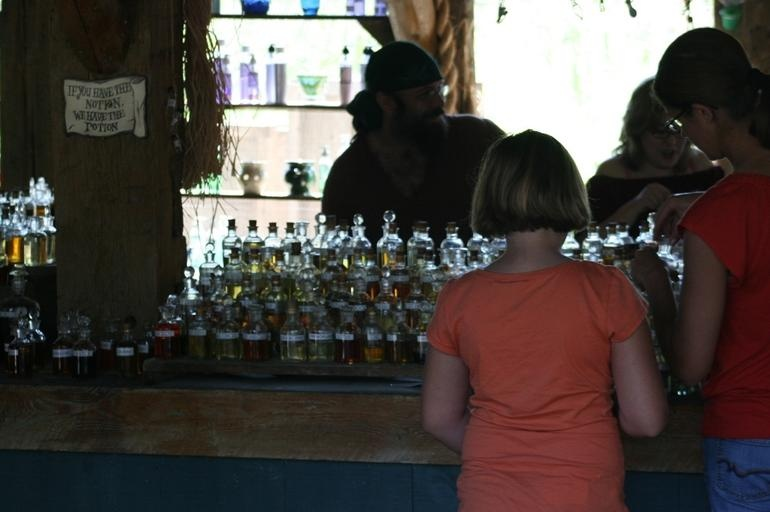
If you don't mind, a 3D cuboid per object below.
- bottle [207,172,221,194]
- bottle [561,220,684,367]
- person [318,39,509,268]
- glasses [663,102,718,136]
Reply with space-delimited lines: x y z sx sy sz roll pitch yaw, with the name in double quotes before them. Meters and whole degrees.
"bottle" -0.775 -0.336 5.053 0.078 0.087 0.082 -5 -26 -8
"bottle" 0.998 0.124 4.591 0.429 0.220 0.610 -3 16 -3
"person" 0.161 -0.489 5.365 1.016 1.026 0.594 -7 11 -10
"glasses" 1.071 -0.480 3.838 0.178 0.058 0.180 -6 4 -2
